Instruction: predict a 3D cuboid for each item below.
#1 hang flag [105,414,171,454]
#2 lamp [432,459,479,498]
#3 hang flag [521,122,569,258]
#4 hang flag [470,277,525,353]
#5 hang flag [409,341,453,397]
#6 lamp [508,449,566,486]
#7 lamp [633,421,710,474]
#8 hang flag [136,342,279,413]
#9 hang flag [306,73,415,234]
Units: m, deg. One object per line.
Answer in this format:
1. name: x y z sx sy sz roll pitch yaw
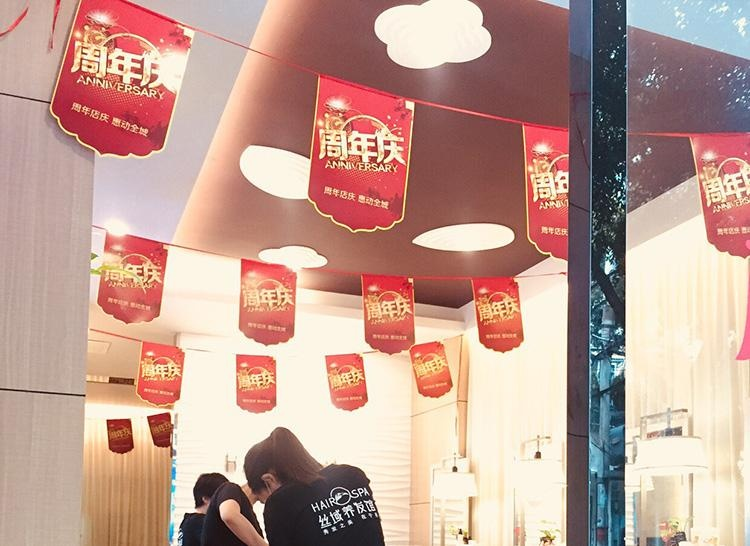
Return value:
1. hang flag: -4.243 2.857 11.411 1.181 0.627 0.544 -4 -18 9
2. lamp: 0.995 2.494 7.693 0.499 0.475 0.507 -15 -25 39
3. hang flag: 1.070 -0.511 3.924 0.286 0.692 0.573 -6 -18 14
4. hang flag: 1.263 0.412 6.497 0.438 0.746 0.207 -7 -18 16
5. hang flag: 0.714 1.257 8.295 0.503 0.696 0.246 -13 -21 33
6. lamp: 1.652 1.973 6.403 0.475 0.280 0.487 -17 -25 41
7. lamp: 0.336 0.207 0.723 0.030 0.042 0.073 9 -21 -30
8. hang flag: -2.143 1.368 8.258 1.766 0.806 0.284 7 -19 -25
9. hang flag: -0.086 -0.654 3.616 0.567 0.732 0.396 2 -17 -12
